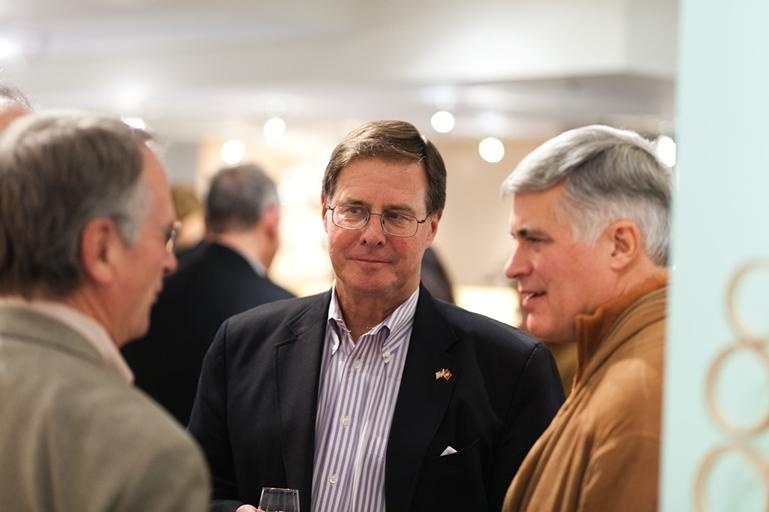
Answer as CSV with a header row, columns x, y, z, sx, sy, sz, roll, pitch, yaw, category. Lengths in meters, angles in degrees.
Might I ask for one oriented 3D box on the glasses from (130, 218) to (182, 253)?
x,y,z,sx,sy,sz,roll,pitch,yaw,category
-0.555,-0.050,2.303,0.031,0.084,0.065,12,13,36,glasses
